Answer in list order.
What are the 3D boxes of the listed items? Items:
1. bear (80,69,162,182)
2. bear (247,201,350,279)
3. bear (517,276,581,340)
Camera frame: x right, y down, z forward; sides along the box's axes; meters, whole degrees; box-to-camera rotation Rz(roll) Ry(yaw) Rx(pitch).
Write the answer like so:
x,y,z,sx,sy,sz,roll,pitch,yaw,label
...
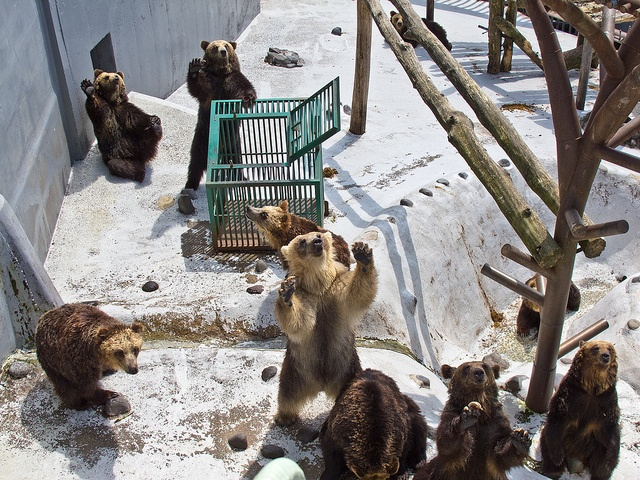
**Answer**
x,y,z,sx,sy,sz,roll,pitch,yaw,label
-2.992,-1.718,9.602,0.946,1.411,0.794,22,39,24,bear
-0.232,0.100,7.504,1.406,0.447,0.848,22,71,-28,bear
2.620,0.797,7.289,0.324,0.482,0.684,37,94,37,bear
